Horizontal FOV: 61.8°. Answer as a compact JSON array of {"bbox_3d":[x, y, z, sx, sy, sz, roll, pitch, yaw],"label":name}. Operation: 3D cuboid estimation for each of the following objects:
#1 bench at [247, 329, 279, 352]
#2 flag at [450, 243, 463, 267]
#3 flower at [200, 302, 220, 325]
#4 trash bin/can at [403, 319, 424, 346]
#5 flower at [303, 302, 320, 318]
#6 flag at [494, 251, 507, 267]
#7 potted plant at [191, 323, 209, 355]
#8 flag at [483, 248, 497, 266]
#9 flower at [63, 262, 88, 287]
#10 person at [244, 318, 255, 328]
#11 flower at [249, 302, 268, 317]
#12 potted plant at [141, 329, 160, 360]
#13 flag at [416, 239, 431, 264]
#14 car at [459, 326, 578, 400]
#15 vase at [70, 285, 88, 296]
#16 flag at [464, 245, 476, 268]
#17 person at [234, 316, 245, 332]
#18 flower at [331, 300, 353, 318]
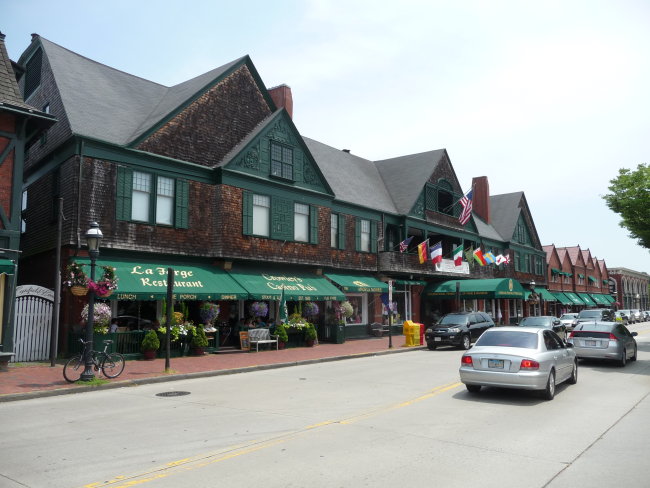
[{"bbox_3d":[-2.801,4.287,24.393,1.445,1.012,0.733,7,-14,-44],"label":"bench"},{"bbox_3d":[9.622,0.853,40.086,0.180,2.170,1.659,1,3,-26],"label":"flag"},{"bbox_3d":[-4.961,2.987,23.203,0.688,0.992,0.754,-3,-10,-5],"label":"flower"},{"bbox_3d":[4.634,4.789,28.967,0.621,1.436,1.630,-7,-10,35],"label":"trash bin/can"},{"bbox_3d":[-0.807,3.408,28.180,0.805,0.851,0.821,2,-8,-18],"label":"flower"},{"bbox_3d":[14.308,1.272,44.521,1.168,0.598,3.399,10,1,17],"label":"flag"},{"bbox_3d":[-5.094,3.900,22.002,0.724,1.232,0.593,4,-12,-36],"label":"potted plant"},{"bbox_3d":[12.144,1.057,40.650,0.496,1.627,1.679,-19,-4,30],"label":"flag"},{"bbox_3d":[-8.635,1.060,18.888,0.767,0.816,0.521,3,-10,-36],"label":"flower"},{"bbox_3d":[-3.433,3.652,24.936,0.495,0.490,1.025,-2,-11,-7],"label":"person"},{"bbox_3d":[-3.214,3.041,25.228,0.738,0.783,0.756,-5,-6,35],"label":"flower"},{"bbox_3d":[-6.540,3.765,20.428,0.614,1.098,0.434,0,-10,-18],"label":"potted plant"},{"bbox_3d":[6.102,0.435,33.905,0.622,1.247,0.958,-5,-10,10],"label":"flag"},{"bbox_3d":[5.213,3.090,14.319,3.256,1.892,1.716,5,-13,-38],"label":"car"},{"bbox_3d":[-8.338,1.551,18.469,0.505,0.365,0.522,0,-9,4],"label":"vase"},{"bbox_3d":[11.143,0.983,42.145,0.214,1.629,1.561,-9,-5,-27],"label":"flag"},{"bbox_3d":[-3.924,3.706,25.177,0.573,0.827,1.508,-2,-11,-9],"label":"person"},{"bbox_3d":[0.892,3.657,30.554,0.564,0.909,1.226,7,-15,-44],"label":"flower"}]
